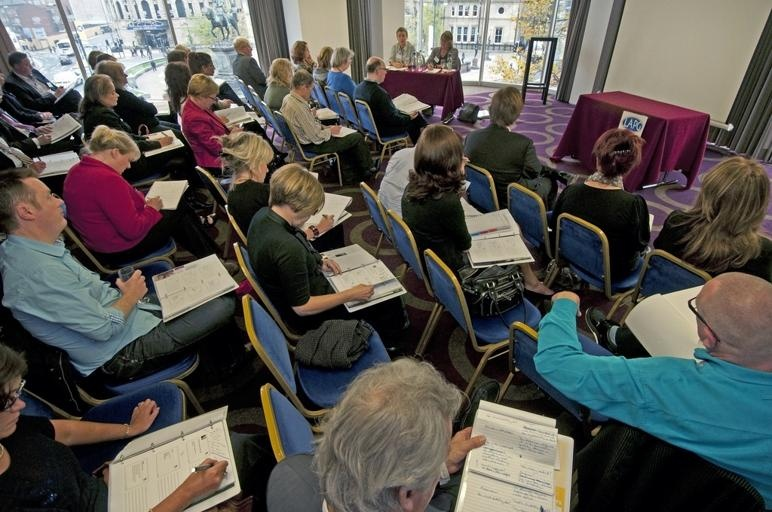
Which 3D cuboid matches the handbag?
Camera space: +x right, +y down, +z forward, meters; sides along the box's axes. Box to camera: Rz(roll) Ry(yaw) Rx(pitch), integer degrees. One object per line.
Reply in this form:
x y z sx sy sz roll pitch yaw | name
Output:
0.738 0.226 3.498 0.393 0.379 0.320 -19 20 3 | handbag

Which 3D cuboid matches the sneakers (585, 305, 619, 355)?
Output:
1.484 0.509 3.492 0.116 0.121 0.332 -3 43 -9 | sneakers

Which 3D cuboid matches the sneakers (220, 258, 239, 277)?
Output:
-1.284 0.094 4.173 0.191 0.143 0.066 18 31 33 | sneakers

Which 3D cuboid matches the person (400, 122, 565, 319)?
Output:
0.724 -0.228 3.859 0.946 1.639 0.573 -29 38 -10 | person

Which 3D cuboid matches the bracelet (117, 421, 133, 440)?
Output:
-1.515 1.015 2.940 0.053 0.078 0.032 2 -9 25 | bracelet

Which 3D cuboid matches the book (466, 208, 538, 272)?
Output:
0.804 -0.122 3.715 0.360 0.078 0.562 -12 39 7 | book

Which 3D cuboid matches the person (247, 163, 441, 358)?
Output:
-0.283 0.067 3.576 0.909 1.387 0.615 -22 45 -20 | person

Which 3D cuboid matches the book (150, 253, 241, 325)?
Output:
-1.287 0.196 3.419 0.412 0.089 0.434 -26 48 -24 | book

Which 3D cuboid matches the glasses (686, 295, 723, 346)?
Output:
1.621 0.320 2.602 0.167 0.046 0.178 21 49 -38 | glasses

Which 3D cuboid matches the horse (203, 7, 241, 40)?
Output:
-2.645 -3.764 8.224 0.217 0.473 0.684 37 46 24 | horse
